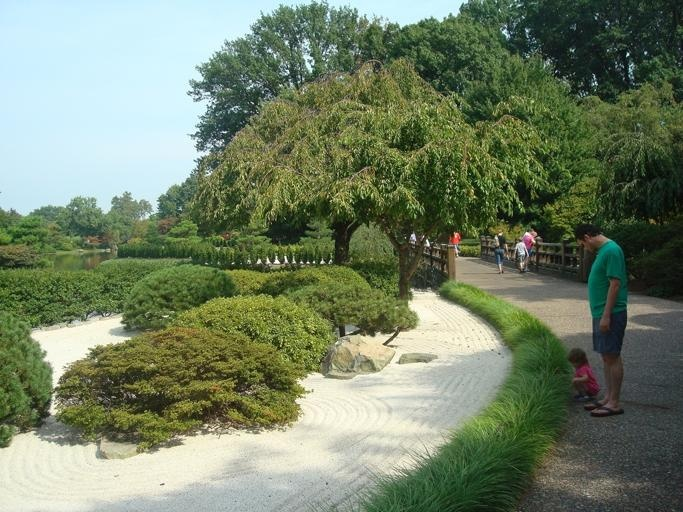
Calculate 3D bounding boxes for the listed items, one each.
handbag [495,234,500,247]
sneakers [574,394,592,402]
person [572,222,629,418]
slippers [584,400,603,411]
[{"bbox_3d":[7.207,-0.688,26.264,0.138,0.518,0.636,-1,7,23],"label":"handbag"},{"bbox_3d":[3.480,2.031,8.205,0.226,0.115,0.084,-3,0,7],"label":"sneakers"},{"bbox_3d":[3.555,0.854,7.719,0.528,2.580,0.511,1,7,34],"label":"person"},{"bbox_3d":[3.483,2.065,7.904,0.265,0.112,0.103,-3,-2,30],"label":"slippers"}]
